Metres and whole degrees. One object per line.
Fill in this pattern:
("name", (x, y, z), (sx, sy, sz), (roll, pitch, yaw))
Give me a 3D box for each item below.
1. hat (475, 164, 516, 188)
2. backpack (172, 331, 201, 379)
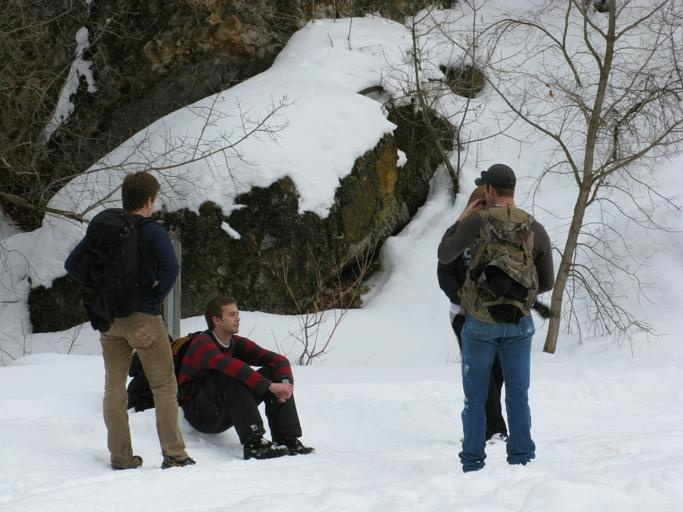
("hat", (1.841, -0.963, 10.633), (0.295, 0.242, 0.411), (-7, 19, -37))
("backpack", (-1.952, 1.275, 11.188), (0.493, 0.428, 0.739), (6, -12, -17))
